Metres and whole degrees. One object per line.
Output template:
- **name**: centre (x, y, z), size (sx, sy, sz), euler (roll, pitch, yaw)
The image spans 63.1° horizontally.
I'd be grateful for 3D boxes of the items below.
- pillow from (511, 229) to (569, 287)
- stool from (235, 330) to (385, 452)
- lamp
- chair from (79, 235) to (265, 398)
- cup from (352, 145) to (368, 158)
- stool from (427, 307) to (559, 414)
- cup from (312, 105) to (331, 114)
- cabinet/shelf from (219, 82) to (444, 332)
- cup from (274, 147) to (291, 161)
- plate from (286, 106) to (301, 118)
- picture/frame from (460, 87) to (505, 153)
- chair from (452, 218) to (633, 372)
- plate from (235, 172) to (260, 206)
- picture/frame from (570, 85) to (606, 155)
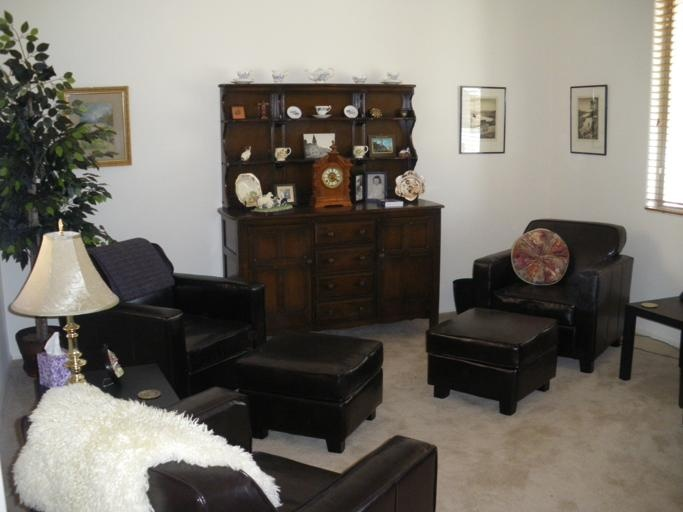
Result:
- **pillow**: centre (1.782, -0.003, 5.042), size (0.580, 0.547, 0.139), euler (8, 18, -21)
- **stool**: centre (-0.143, 0.719, 3.596), size (0.740, 0.469, 0.727), euler (3, 12, 24)
- **lamp**: centre (-1.299, 0.252, 2.609), size (0.418, 0.812, 0.335), euler (3, 13, 28)
- **chair**: centre (-1.142, 0.442, 3.954), size (1.131, 1.013, 0.984), euler (8, 17, 32)
- **cup**: centre (0.194, -1.013, 5.439), size (0.157, 0.112, 0.099), euler (-2, 4, -35)
- **stool**: centre (1.124, 0.776, 4.209), size (0.820, 0.571, 0.652), euler (4, 12, 30)
- **cup**: centre (-0.163, -1.370, 5.254), size (0.114, 0.073, 0.135), euler (1, 3, 38)
- **cabinet/shelf**: centre (-0.101, -0.452, 5.269), size (2.048, 2.313, 0.831), euler (-7, 18, -23)
- **cup**: centre (-0.550, -0.948, 5.241), size (0.160, 0.110, 0.115), euler (0, 0, -37)
- **plate**: centre (-0.441, -1.337, 5.200), size (0.148, 0.129, 0.196), euler (-4, 11, -6)
- **picture/frame**: centre (1.451, -1.446, 5.819), size (0.682, 0.897, 0.032), euler (-2, 6, -18)
- **chair**: centre (1.852, 0.306, 5.035), size (1.269, 1.045, 0.996), euler (7, 17, 41)
- **plate**: centre (-0.867, -0.599, 5.122), size (0.254, 0.308, 0.154), euler (-2, 11, 3)
- **picture/frame**: centre (2.431, -1.325, 5.469), size (0.088, 0.679, 0.412), euler (-8, 12, -25)
